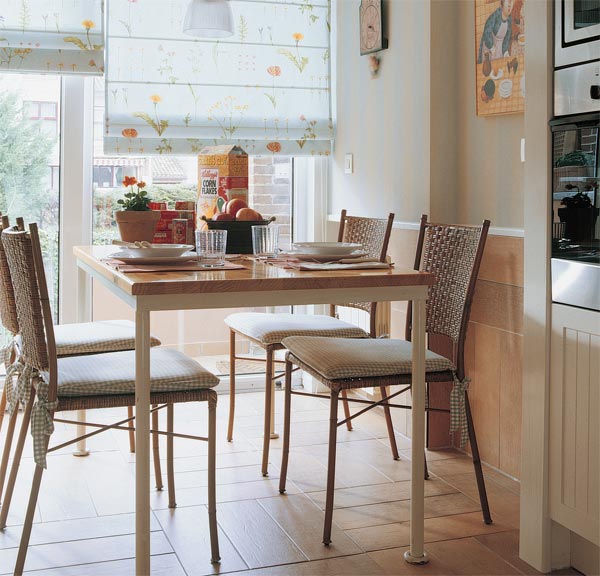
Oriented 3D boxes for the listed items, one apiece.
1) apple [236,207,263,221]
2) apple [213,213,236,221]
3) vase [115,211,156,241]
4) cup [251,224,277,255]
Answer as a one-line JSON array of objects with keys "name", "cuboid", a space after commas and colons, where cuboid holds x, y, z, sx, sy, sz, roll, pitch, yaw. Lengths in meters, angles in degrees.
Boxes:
[{"name": "apple", "cuboid": [-0.178, -0.258, 2.142, 0.083, 0.035, 0.047, 6, -10, -30]}, {"name": "apple", "cuboid": [-0.261, -0.249, 2.117, 0.043, 0.022, 0.042, 0, 3, -14]}, {"name": "vase", "cuboid": [-0.592, -0.228, 2.246, 0.114, 0.094, 0.135, 2, 4, 31]}, {"name": "cup", "cuboid": [-0.111, -0.150, 1.912, 0.093, 0.099, 0.095, 0, 6, 0]}]
